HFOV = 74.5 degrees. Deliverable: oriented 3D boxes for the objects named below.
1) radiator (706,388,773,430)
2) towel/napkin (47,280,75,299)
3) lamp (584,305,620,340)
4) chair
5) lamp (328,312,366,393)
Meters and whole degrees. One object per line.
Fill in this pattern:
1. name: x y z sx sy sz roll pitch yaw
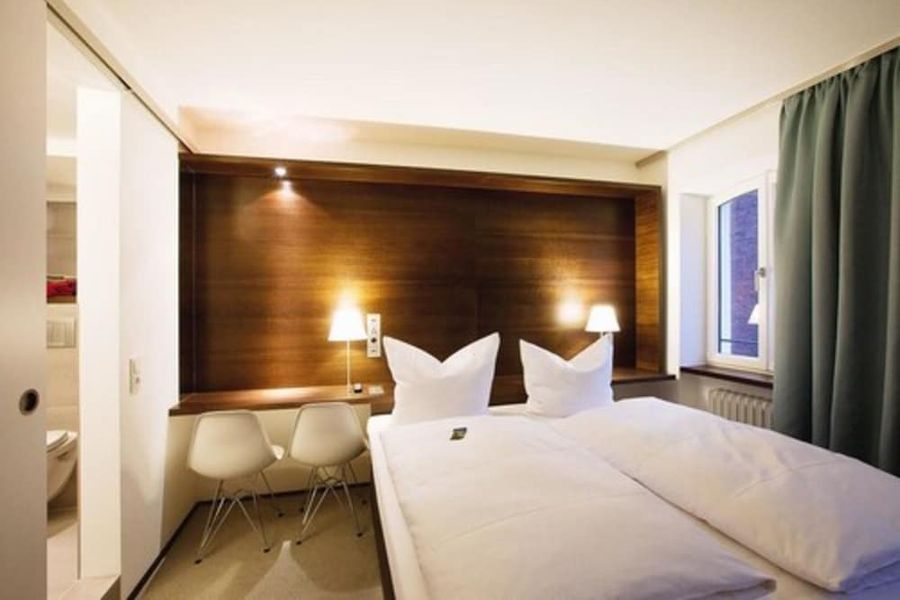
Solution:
1. radiator: 2.198 0.809 4.421 0.058 0.284 0.324 -2 4 -33
2. towel/napkin: -2.492 -0.071 3.797 0.163 0.122 0.062 -1 6 -23
3. lamp: 1.329 0.185 5.147 0.292 0.497 0.290 -1 1 24
4. chair: -1.247 1.223 4.405 1.212 0.685 0.794 -2 1 -12
5. lamp: -0.806 0.381 4.746 0.306 0.662 0.314 -2 1 -11
